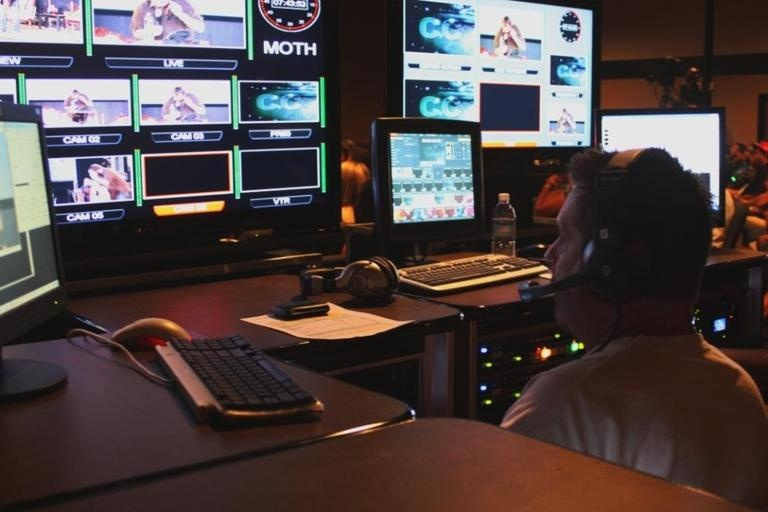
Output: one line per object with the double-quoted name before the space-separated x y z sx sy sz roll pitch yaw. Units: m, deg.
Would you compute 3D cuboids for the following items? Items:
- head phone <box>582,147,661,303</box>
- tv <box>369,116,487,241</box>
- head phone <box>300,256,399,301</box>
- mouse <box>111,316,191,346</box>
"head phone" 0.505 -0.056 1.238 0.163 0.405 0.359 0 -2 29
"tv" 0.173 -0.312 2.374 0.550 0.513 0.291 -3 3 -29
"head phone" -0.113 0.076 1.987 0.224 0.092 0.193 -5 8 -1
"mouse" -0.598 0.193 1.506 0.169 0.054 0.089 5 -1 0
